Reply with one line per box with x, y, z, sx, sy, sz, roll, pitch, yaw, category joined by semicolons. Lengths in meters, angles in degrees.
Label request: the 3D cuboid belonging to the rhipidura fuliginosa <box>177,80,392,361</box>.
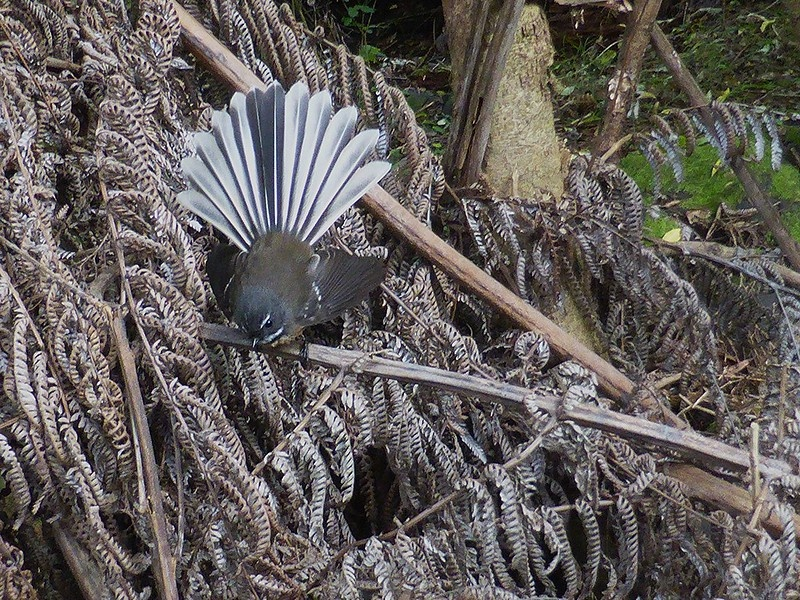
-0.498;-0.391;4.159;0.784;1.148;0.424;0;-9;-1;rhipidura fuliginosa
